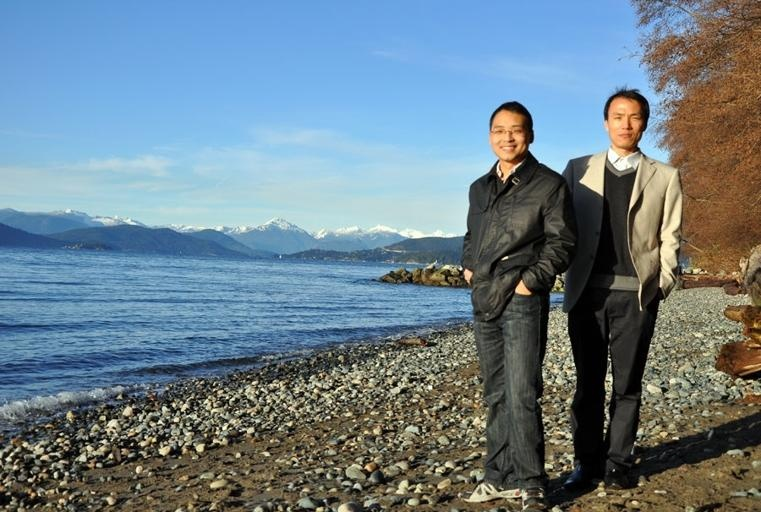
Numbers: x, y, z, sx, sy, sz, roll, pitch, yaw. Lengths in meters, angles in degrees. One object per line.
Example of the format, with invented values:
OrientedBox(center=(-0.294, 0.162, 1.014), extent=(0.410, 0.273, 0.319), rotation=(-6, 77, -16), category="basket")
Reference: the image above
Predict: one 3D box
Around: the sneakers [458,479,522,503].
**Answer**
OrientedBox(center=(1.235, 2.639, 5.774), extent=(0.681, 0.221, 0.219), rotation=(0, -10, 9), category="sneakers")
